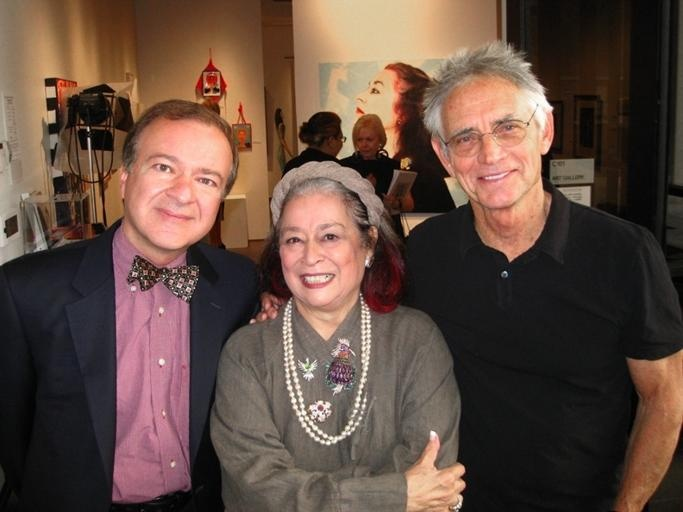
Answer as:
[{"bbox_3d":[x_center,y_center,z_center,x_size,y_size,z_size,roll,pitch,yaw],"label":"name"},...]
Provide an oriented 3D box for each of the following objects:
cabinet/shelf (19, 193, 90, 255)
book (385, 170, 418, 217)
[{"bbox_3d":[-1.964,-0.217,3.895,0.136,0.365,0.420,2,8,20],"label":"cabinet/shelf"},{"bbox_3d":[0.612,-0.661,5.985,0.419,0.431,0.102,-2,26,-47],"label":"book"}]
